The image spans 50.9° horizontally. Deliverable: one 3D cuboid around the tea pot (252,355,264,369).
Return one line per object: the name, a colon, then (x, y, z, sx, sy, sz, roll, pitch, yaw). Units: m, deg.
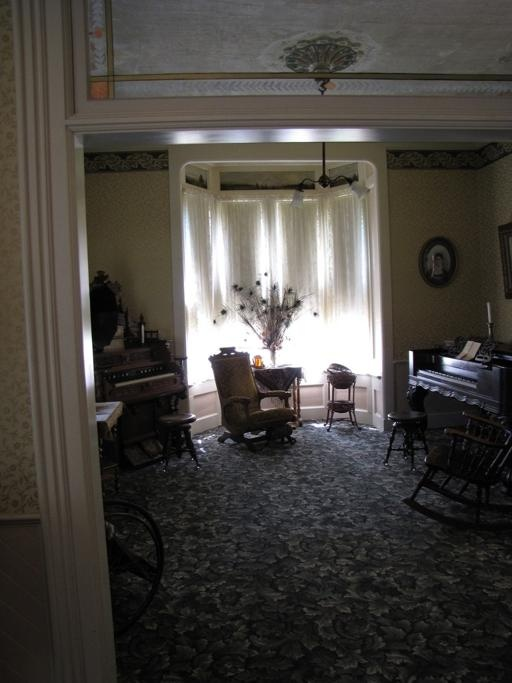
tea pot: (0.010, 0.261, 6.711, 0.142, 0.151, 0.139, -2, 0, 0)

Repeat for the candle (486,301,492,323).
candle: (2.537, -0.310, 5.852, 0.034, 0.241, 1.301, 1, 8, 24)

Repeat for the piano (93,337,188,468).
piano: (-1.103, 0.595, 5.074, 0.555, 1.118, 1.188, 3, 8, 24)

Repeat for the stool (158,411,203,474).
stool: (-0.798, 1.005, 5.511, 0.516, 0.607, 0.486, -3, 5, -1)

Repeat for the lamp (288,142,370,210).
lamp: (0.828, -1.913, 6.461, 0.861, 0.940, 0.869, -7, 12, -27)

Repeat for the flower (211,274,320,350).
flower: (0.103, -0.405, 7.243, 1.092, 0.878, 1.211, -16, 20, -25)

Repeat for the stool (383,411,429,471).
stool: (1.532, 0.953, 5.352, 0.553, 0.626, 0.520, 0, 2, 10)

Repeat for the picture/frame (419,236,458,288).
picture/frame: (2.154, -0.957, 6.429, 0.652, 0.871, 0.047, -1, 1, -16)
